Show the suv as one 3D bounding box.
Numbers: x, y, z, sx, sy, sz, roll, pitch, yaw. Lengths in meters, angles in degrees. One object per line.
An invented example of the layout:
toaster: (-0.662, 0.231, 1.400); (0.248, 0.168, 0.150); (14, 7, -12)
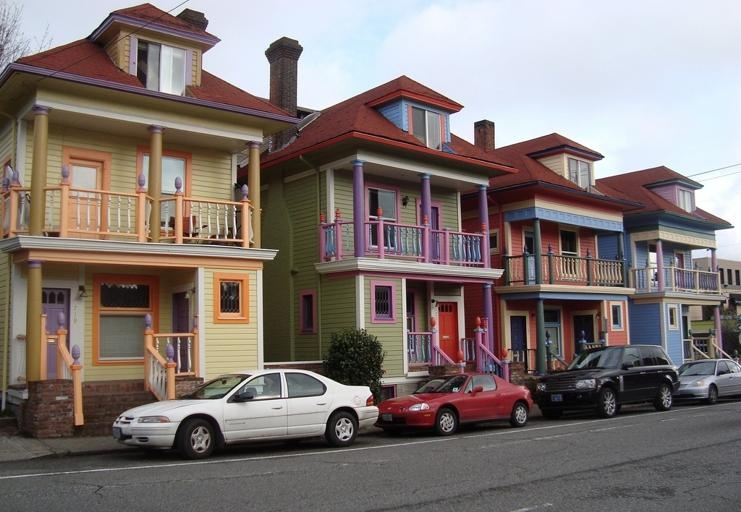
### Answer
suv: (7.947, 4.180, 22.816); (4.349, 1.685, 2.310); (9, -17, -35)

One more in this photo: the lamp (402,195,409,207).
lamp: (1.344, -2.076, 26.436); (0.295, 0.346, 0.384); (4, -10, -17)

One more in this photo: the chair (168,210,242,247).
chair: (-5.138, -0.779, 20.997); (1.392, 0.799, 1.401); (-2, -3, 40)
